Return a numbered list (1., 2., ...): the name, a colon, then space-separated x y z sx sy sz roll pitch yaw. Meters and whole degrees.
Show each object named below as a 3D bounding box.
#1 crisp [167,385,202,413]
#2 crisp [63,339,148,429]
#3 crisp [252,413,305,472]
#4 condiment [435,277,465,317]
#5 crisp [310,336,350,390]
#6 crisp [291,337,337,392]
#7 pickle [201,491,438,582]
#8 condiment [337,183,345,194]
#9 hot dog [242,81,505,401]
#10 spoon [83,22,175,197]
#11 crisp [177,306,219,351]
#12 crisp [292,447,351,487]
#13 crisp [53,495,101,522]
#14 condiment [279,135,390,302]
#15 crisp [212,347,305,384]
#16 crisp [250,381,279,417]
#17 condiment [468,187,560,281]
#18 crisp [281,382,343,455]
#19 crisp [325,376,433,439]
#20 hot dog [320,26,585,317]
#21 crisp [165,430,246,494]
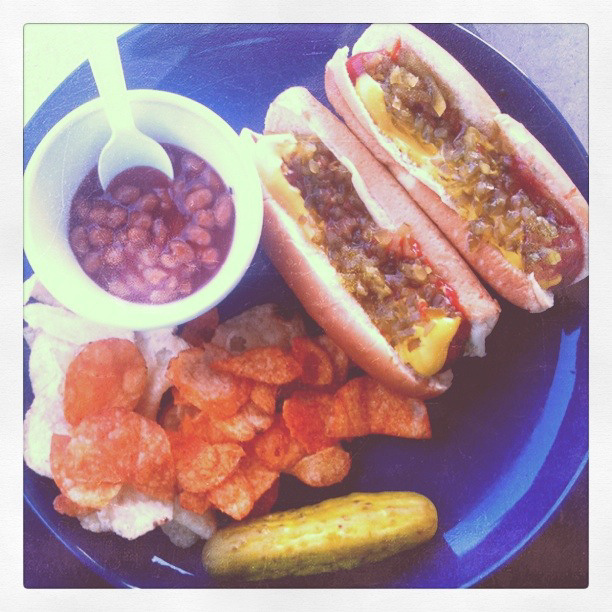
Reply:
1. crisp: -0.229 0.175 1.259 0.013 0.054 0.040 -48 -2 -19
2. crisp: -0.381 0.142 1.268 0.130 0.187 0.045 19 2 1
3. crisp: -0.052 0.270 1.262 0.094 0.113 0.038 -4 16 -9
4. condiment: 0.272 -0.015 1.263 0.016 0.073 0.018 -32 -3 -22
5. crisp: 0.049 0.099 1.285 0.069 0.098 0.027 -28 6 20
6. crisp: 0.016 0.111 1.271 0.069 0.115 0.032 -25 7 -18
7. pickle: 0.036 0.471 1.325 0.453 0.152 0.157 -11 22 -8
8. condiment: 0.065 -0.220 1.232 0.014 0.013 0.010 4 32 13
9. hot dog: 0.128 -0.081 1.407 0.323 0.670 0.216 -39 6 0
10. spoon: -0.331 -0.321 1.237 0.111 0.435 0.060 -14 5 -3
11. crisp: -0.193 0.040 1.258 0.066 0.073 0.021 31 -1 -16
12. crisp: 0.032 0.309 1.278 0.092 0.076 0.028 -12 6 -12
13. crisp: -0.446 0.385 1.285 0.073 0.046 0.018 35 -1 -14
14. condiment: 0.066 -0.157 1.287 0.115 0.404 0.093 -32 3 0
15. crisp: -0.092 0.111 1.274 0.187 0.040 0.110 -4 39 -37
16. crisp: -0.077 0.174 1.251 0.052 0.057 0.015 29 -5 -12
17. condiment: 0.393 -0.139 1.261 0.167 0.167 0.059 5 31 15
18. crisp: 0.001 0.210 1.263 0.107 0.126 0.027 -1 5 -15
19. crisp: 0.140 0.185 1.292 0.182 0.125 0.041 1 6 -9
20. hot dog: 0.279 -0.294 1.403 0.302 0.703 0.211 -39 1 -2
21. crisp: -0.192 0.293 1.306 0.109 0.118 0.037 -34 -2 1
